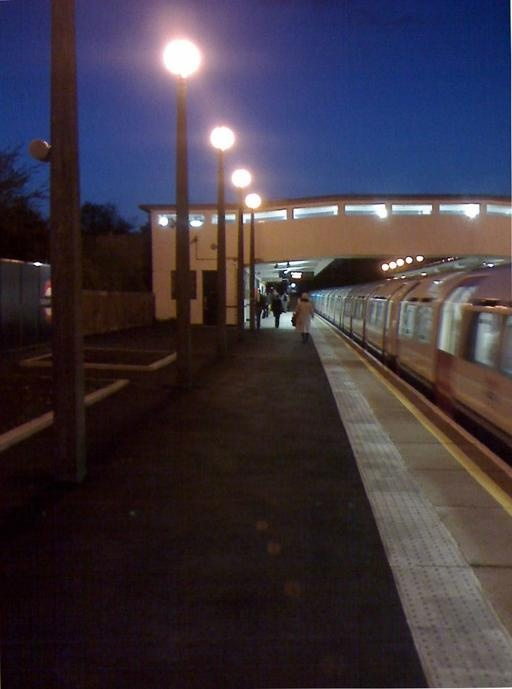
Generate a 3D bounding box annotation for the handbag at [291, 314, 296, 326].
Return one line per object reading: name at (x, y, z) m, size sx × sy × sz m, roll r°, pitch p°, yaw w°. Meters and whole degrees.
handbag at (1.127, -0.726, 18.154) m, size 0.070 × 0.353 × 0.229 m, roll 6°, pitch 5°, yaw 25°

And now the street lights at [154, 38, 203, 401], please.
street lights at (-1.142, -1.956, 8.845) m, size 0.468 × 5.236 × 0.474 m, roll -3°, pitch 4°, yaw -41°
